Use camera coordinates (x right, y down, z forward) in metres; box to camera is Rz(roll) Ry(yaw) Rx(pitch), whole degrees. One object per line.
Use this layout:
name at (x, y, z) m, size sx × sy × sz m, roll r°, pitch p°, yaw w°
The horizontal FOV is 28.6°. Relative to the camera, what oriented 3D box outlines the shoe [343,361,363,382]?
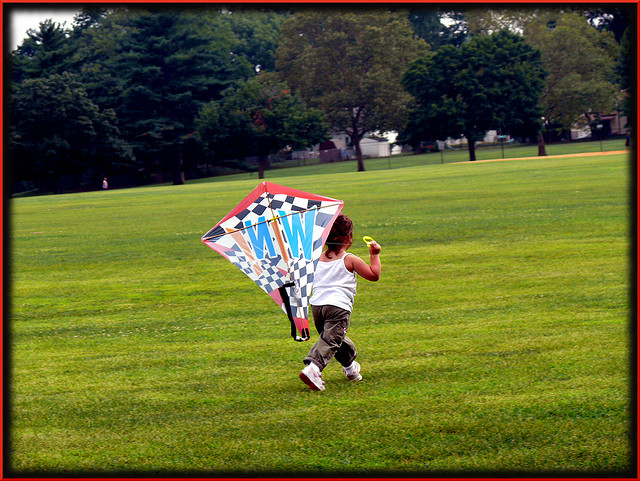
shoe at (1.403, 5.510, 52.687) m, size 0.538 × 0.843 × 0.462 m, roll -14°, pitch 15°, yaw 20°
